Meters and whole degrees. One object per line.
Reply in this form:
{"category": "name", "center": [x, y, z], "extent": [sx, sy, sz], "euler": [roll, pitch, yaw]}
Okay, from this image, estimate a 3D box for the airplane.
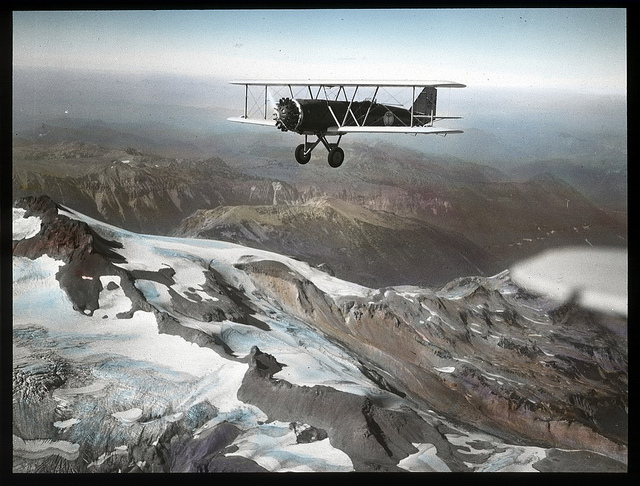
{"category": "airplane", "center": [0.546, -2.481, 9.867], "extent": [3.790, 1.754, 3.115], "euler": [4, 15, 2]}
